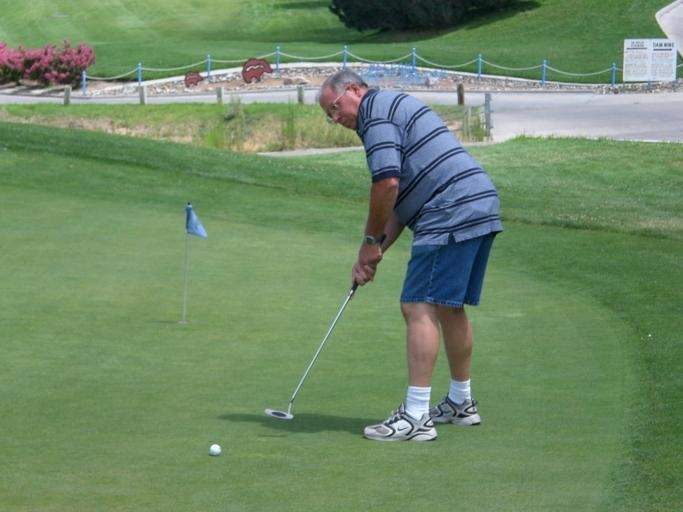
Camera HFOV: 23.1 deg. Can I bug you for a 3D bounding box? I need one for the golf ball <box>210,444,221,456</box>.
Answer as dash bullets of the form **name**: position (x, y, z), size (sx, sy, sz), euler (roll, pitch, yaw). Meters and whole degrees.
- **golf ball**: position (-1.745, 2.684, 23.202), size (0.189, 0.139, 0.119), euler (-4, 13, -9)
